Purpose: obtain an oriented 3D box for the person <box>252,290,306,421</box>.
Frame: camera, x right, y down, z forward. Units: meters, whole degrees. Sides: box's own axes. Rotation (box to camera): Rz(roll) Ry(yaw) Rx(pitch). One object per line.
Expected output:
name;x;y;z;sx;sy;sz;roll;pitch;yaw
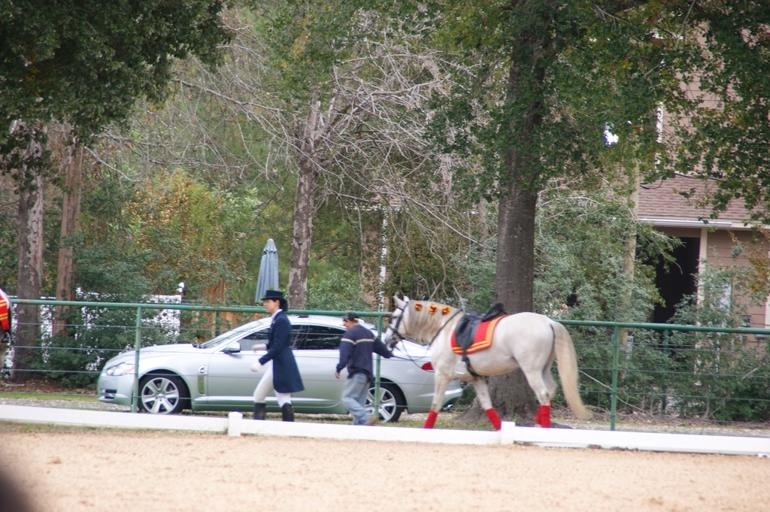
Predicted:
person;-2.197;2.033;32.167;0.998;2.743;1.416;3;-6;-5
